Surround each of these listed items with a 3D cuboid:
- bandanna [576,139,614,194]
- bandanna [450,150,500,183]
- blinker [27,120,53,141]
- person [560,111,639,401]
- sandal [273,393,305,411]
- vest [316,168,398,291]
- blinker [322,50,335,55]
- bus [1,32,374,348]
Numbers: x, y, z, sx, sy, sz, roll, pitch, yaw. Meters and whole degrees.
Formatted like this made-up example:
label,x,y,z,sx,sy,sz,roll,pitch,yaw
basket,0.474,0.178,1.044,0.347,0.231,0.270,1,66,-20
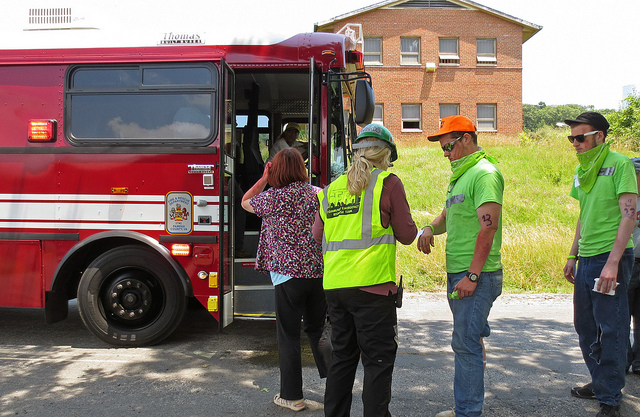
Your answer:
label,x,y,z,sx,sy,sz,roll,pitch,yaw
bandanna,3.312,-0.522,7.712,0.341,0.561,0.556,19,-23,6
bandanna,1.837,-0.556,7.444,0.430,0.230,0.327,-14,-11,23
blinker,-4.121,-1.143,9.242,0.297,0.266,0.105,0,-1,-1
person,3.527,0.631,7.726,0.765,3.570,1.112,-2,12,-12
sandal,-0.385,2.395,7.783,0.358,0.162,0.155,14,8,31
vest,0.406,0.239,7.079,0.910,1.370,0.521,1,12,7
blinker,0.111,-2.296,9.237,0.251,0.049,0.072,1,-9,4
bus,-1.736,-0.393,10.456,5.930,3.491,3.871,-1,3,-2
